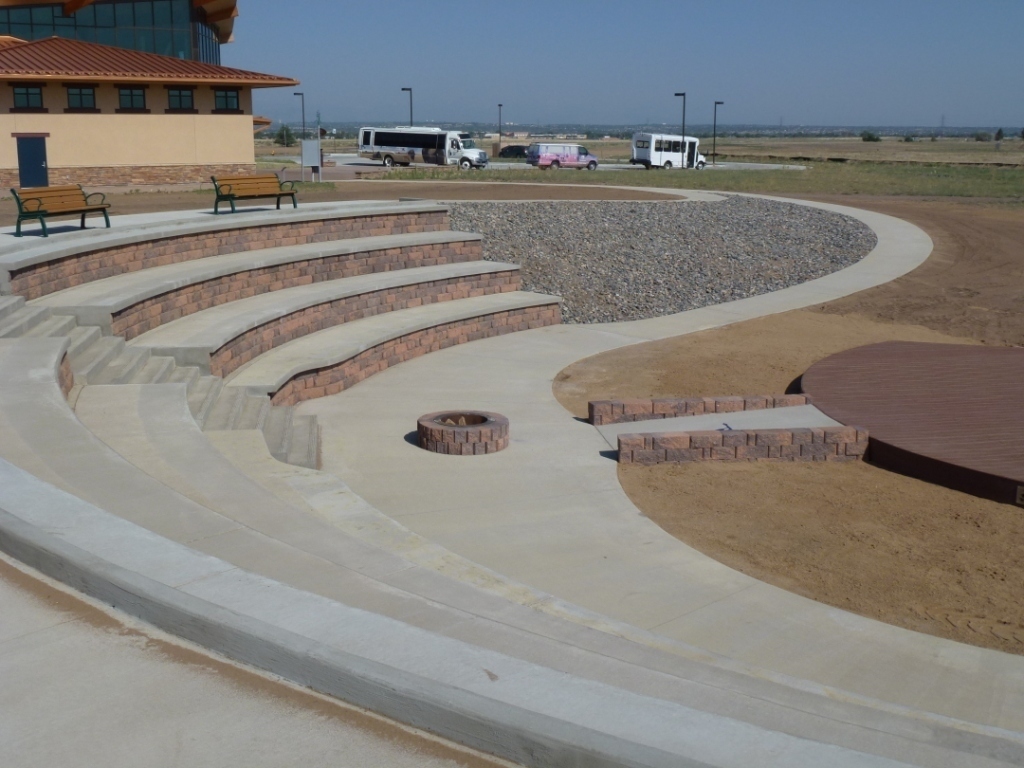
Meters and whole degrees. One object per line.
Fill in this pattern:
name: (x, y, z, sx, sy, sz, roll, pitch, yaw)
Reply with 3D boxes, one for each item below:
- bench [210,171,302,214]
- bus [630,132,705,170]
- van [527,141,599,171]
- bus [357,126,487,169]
bench: (-5.394, -3.953, 17.074, 1.358, 0.746, 2.424, -4, 16, -15)
bus: (11.012, -16.531, 58.682, 3.929, 2.365, 3.596, 11, 20, 32)
van: (3.450, -15.844, 57.473, 4.874, 1.756, 1.953, -7, 19, -24)
bus: (-6.287, -16.552, 57.722, 9.519, 2.729, 2.845, 13, 22, 40)
